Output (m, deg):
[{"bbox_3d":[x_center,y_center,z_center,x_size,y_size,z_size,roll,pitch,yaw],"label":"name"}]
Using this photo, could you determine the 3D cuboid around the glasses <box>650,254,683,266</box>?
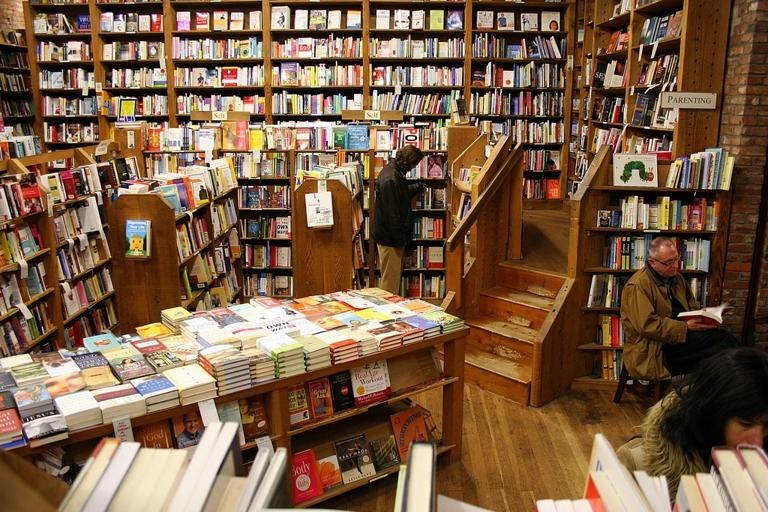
[{"bbox_3d":[2.371,0.035,4.746,0.126,0.042,0.132,-5,14,-16],"label":"glasses"}]
